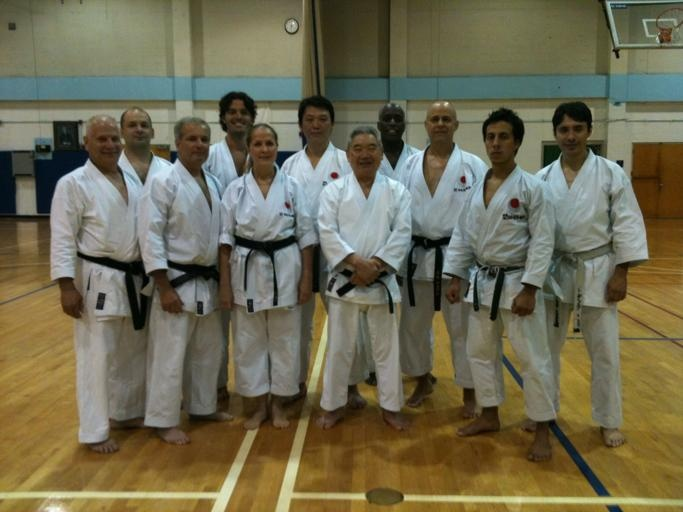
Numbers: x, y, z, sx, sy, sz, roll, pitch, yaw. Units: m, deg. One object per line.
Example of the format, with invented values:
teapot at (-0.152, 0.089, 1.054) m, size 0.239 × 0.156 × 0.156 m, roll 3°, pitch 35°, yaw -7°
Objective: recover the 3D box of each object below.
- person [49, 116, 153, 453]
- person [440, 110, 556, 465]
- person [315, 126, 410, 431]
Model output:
person at (-1.612, 0.183, 4.291) m, size 0.622 × 2.213 × 0.520 m, roll -9°, pitch 14°, yaw -25°
person at (1.064, 0.160, 4.287) m, size 0.804 × 2.254 × 0.597 m, roll 3°, pitch 14°, yaw 26°
person at (0.163, 0.096, 4.500) m, size 0.650 × 1.964 × 0.486 m, roll -1°, pitch 13°, yaw 8°
